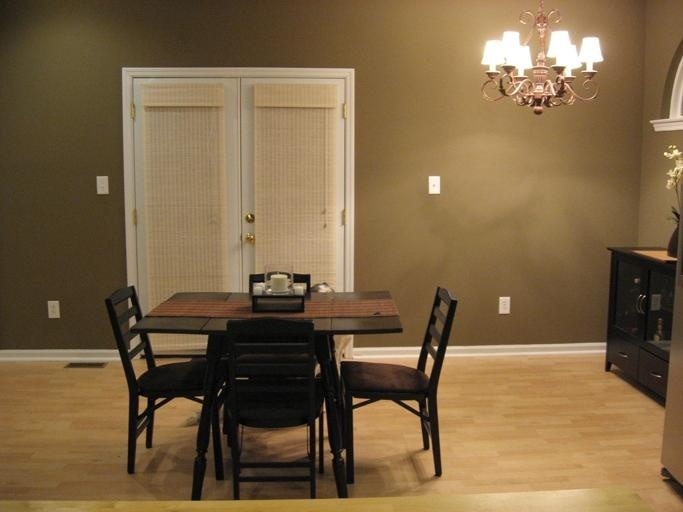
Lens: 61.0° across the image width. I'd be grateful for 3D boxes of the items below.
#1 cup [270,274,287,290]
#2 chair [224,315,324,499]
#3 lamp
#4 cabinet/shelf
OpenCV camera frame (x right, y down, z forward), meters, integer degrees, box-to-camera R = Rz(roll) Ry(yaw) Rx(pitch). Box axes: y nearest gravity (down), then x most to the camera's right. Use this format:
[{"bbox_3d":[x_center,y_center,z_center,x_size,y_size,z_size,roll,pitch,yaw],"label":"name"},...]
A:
[{"bbox_3d":[-0.394,0.169,3.613,0.090,0.072,0.092,2,11,0],"label":"cup"},{"bbox_3d":[-0.399,0.813,3.364,0.572,1.106,0.736,-3,12,-10],"label":"chair"},{"bbox_3d":[1.461,-1.549,4.339,0.841,0.961,1.551,3,13,19],"label":"lamp"},{"bbox_3d":[2.249,0.546,4.340,0.394,1.053,1.080,1,4,3],"label":"cabinet/shelf"}]
